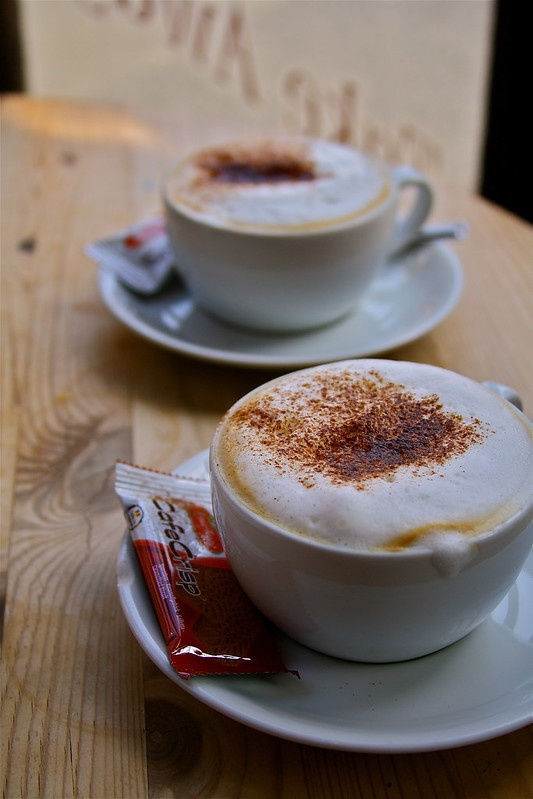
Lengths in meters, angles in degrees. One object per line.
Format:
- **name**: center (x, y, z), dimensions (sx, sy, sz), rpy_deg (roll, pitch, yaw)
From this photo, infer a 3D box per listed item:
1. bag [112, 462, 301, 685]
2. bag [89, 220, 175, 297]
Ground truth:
- **bag**: center (-0.029, 0.088, 0.304), dimensions (0.061, 0.016, 0.141), rpy_deg (9, 32, -31)
- **bag**: center (-0.077, -0.080, 0.411), dimensions (0.047, 0.013, 0.044), rpy_deg (33, 62, 19)
